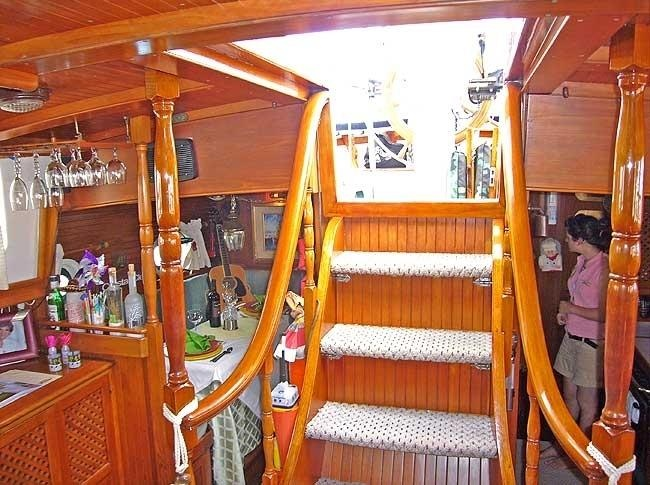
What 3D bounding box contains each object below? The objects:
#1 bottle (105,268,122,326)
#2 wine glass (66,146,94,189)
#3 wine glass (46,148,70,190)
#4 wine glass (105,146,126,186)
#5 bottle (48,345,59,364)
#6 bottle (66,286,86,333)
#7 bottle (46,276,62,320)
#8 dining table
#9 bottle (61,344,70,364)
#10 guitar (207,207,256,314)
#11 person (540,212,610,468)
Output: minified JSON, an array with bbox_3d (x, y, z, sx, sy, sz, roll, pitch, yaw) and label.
[{"bbox_3d":[-1.362,0.346,3.232,0.100,0.366,0.207,-5,6,-24],"label":"bottle"},{"bbox_3d":[-1.499,-0.453,3.052,0.134,0.227,0.610,-5,6,-26],"label":"wine glass"},{"bbox_3d":[-1.524,-0.418,2.843,0.114,0.227,0.352,-5,6,-28],"label":"wine glass"},{"bbox_3d":[-1.307,-0.478,3.126,0.108,0.223,0.268,-4,6,-22],"label":"wine glass"},{"bbox_3d":[-1.660,0.688,3.077,0.064,0.098,0.060,-2,6,0],"label":"bottle"},{"bbox_3d":[-1.627,0.453,3.269,0.100,0.257,0.143,-5,6,-26],"label":"bottle"},{"bbox_3d":[-1.817,0.374,3.368,0.085,0.294,0.124,-6,7,-37],"label":"bottle"},{"bbox_3d":[-0.676,0.924,3.883,0.769,0.324,1.289,7,17,19],"label":"dining table"},{"bbox_3d":[-1.618,0.705,3.136,0.048,0.131,0.090,-6,7,-31],"label":"bottle"},{"bbox_3d":[-1.045,0.193,5.182,0.465,1.085,0.146,-14,-8,-25],"label":"guitar"},{"bbox_3d":[2.006,0.723,3.988,0.409,1.880,0.621,1,7,30],"label":"person"}]
